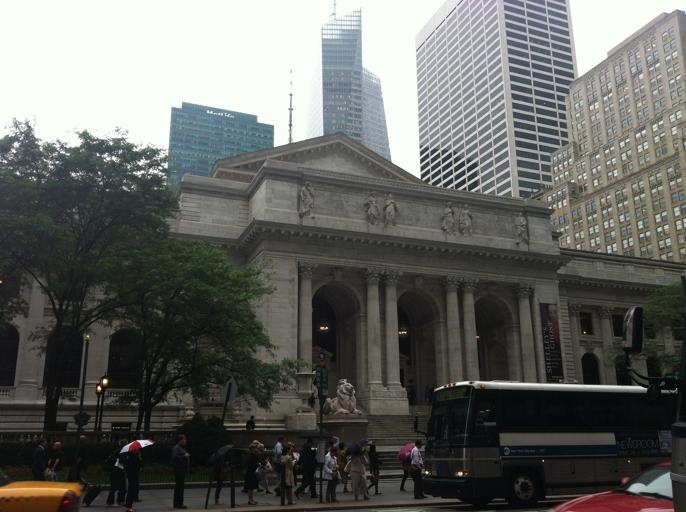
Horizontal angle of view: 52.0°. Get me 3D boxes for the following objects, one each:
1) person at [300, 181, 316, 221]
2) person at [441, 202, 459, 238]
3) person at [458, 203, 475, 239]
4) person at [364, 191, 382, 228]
[{"bbox_3d":[-2.850,-4.276,54.701,1.212,3.056,0.424,6,-17,-23],"label":"person"},{"bbox_3d":[8.933,-2.989,58.675,1.577,2.679,0.423,8,-17,-27],"label":"person"},{"bbox_3d":[10.448,-2.892,59.242,1.327,2.702,0.476,10,-18,-33],"label":"person"},{"bbox_3d":[2.449,-3.726,56.433,1.358,2.798,0.657,2,-15,-8],"label":"person"}]
